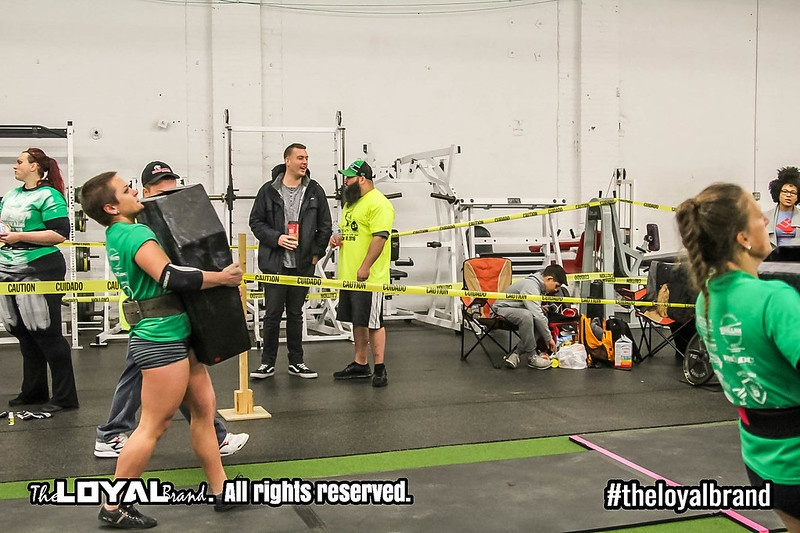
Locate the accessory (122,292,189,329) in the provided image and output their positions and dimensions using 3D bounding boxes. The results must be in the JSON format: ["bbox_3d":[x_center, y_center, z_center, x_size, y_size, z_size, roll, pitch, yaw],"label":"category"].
[{"bbox_3d":[-1.537,0.262,4.447,0.319,0.203,0.319,-5,-6,-33],"label":"accessory"}]

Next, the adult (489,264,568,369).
[{"bbox_3d":[1.461,0.545,8.037,0.851,1.180,0.509,5,-2,28],"label":"adult"}]

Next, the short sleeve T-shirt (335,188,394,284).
[{"bbox_3d":[-0.360,-0.312,7.235,0.472,0.939,0.798,-4,8,-34],"label":"short sleeve T-shirt"}]

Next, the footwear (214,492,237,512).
[{"bbox_3d":[-1.164,1.563,4.697,0.172,0.102,0.071,0,1,-10],"label":"footwear"}]

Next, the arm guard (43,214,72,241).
[{"bbox_3d":[-3.025,-0.342,6.263,0.192,0.182,0.187,-5,7,0],"label":"arm guard"}]

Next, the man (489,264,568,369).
[{"bbox_3d":[1.450,0.539,8.022,0.844,1.164,0.549,5,-2,31],"label":"man"}]

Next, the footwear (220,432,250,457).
[{"bbox_3d":[-1.283,1.366,5.469,0.096,0.108,0.245,11,23,43],"label":"footwear"}]

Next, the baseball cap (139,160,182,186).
[{"bbox_3d":[-1.802,-0.687,5.261,0.230,0.171,0.315,-6,-1,-43],"label":"baseball cap"}]

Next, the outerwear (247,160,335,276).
[{"bbox_3d":[-1.092,-0.480,7.182,0.727,1.139,0.512,-4,5,-33],"label":"outerwear"}]

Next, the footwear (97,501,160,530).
[{"bbox_3d":[-1.732,1.599,4.543,0.403,0.166,0.146,3,-4,-9],"label":"footwear"}]

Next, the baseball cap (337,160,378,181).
[{"bbox_3d":[-0.413,-0.981,7.088,0.294,0.155,0.192,0,5,-1],"label":"baseball cap"}]

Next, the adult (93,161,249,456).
[{"bbox_3d":[-1.813,0.298,5.392,1.362,2.259,0.722,-13,27,-23],"label":"adult"}]

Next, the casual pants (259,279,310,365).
[{"bbox_3d":[-1.178,0.473,7.228,0.466,1.290,0.312,-2,24,-22],"label":"casual pants"}]

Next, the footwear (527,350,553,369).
[{"bbox_3d":[1.568,1.066,7.944,0.116,0.148,0.333,-1,-4,-22],"label":"footwear"}]

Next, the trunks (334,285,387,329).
[{"bbox_3d":[-0.388,0.411,7.177,0.355,0.579,0.631,7,-5,-41],"label":"trunks"}]

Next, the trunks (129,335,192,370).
[{"bbox_3d":[-1.500,0.530,4.441,0.355,0.204,0.150,-3,5,-22],"label":"trunks"}]

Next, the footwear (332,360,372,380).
[{"bbox_3d":[-0.473,1.092,7.374,0.447,0.186,0.161,2,-4,-9],"label":"footwear"}]
